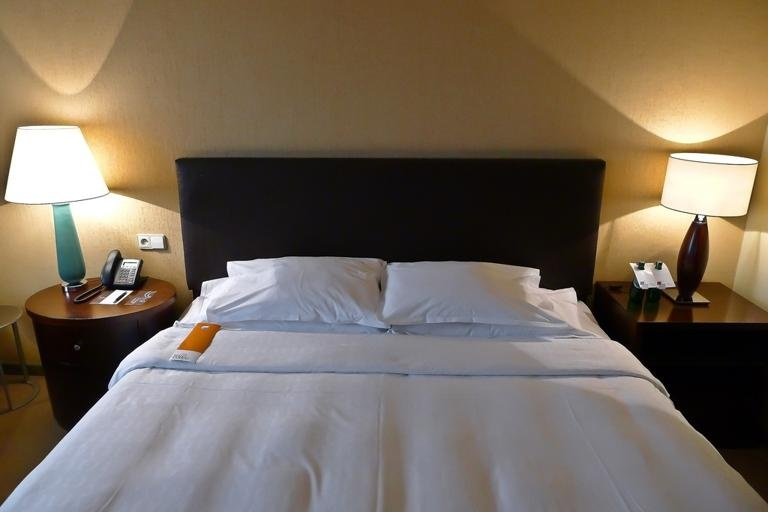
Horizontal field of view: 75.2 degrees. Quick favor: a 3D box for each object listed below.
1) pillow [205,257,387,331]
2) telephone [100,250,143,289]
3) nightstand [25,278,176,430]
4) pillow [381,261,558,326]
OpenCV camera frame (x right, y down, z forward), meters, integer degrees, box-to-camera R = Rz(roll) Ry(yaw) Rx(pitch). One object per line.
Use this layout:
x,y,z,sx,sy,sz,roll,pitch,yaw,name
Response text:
-0.530,0.213,2.953,0.833,0.179,0.511,3,56,5,pillow
-1.728,0.084,3.291,0.231,0.227,0.217,5,6,8,telephone
-1.763,0.537,3.381,0.839,0.943,0.832,-2,19,-5,nightstand
0.476,0.229,2.909,0.728,0.165,0.468,0,41,4,pillow
